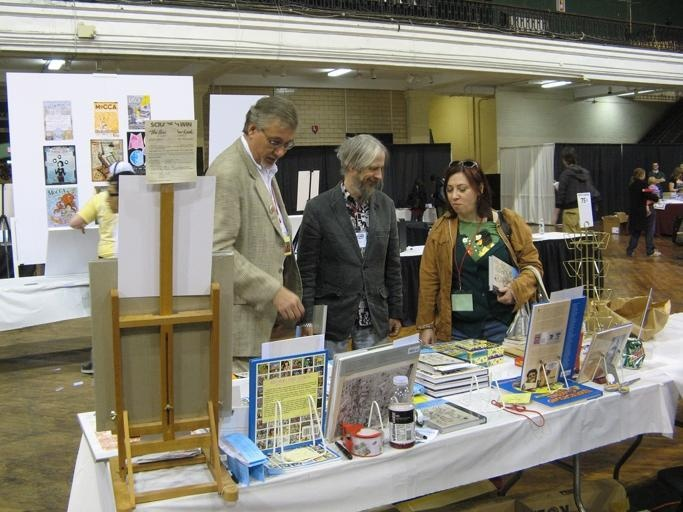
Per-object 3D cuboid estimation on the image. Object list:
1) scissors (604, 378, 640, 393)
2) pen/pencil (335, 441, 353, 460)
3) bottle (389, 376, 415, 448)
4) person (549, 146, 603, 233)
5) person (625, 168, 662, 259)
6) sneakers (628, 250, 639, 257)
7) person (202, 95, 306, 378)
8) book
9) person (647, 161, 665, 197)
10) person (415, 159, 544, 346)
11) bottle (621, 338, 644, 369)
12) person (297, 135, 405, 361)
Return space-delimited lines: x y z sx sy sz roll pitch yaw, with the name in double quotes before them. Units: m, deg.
"scissors" 1.150 0.532 2.131 0.094 0.039 0.065 2 -4 -20
"pen/pencil" 0.009 0.641 1.732 0.019 0.012 0.082 -41 27 -8
"bottle" 0.207 0.531 1.782 0.096 0.238 0.093 -4 -3 0
"person" 4.024 -1.114 8.919 0.680 1.352 1.632 1 9 28
"person" 5.955 -0.867 10.224 0.789 1.619 0.805 -1 3 38
"sneakers" 5.649 -0.034 10.083 0.189 0.110 0.114 -3 4 -40
"person" -0.339 -0.096 2.237 0.415 1.198 0.622 -5 8 -14
"book" 0.472 0.504 2.218 0.204 0.060 0.217 2 5 -25
"person" 8.279 -1.781 13.589 0.376 1.179 0.336 -6 7 19
"person" 0.748 -0.013 2.896 0.652 1.008 0.262 -1 8 14
"bottle" 1.283 0.425 2.318 0.095 0.135 0.043 10 3 -10
"person" 0.047 -0.051 2.818 0.578 1.163 0.437 -3 7 1
